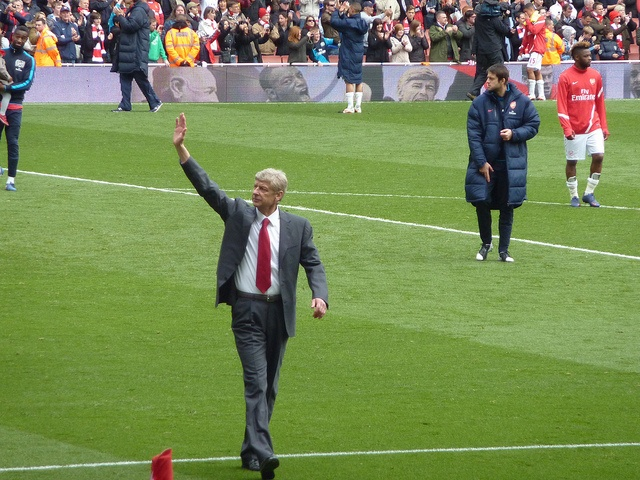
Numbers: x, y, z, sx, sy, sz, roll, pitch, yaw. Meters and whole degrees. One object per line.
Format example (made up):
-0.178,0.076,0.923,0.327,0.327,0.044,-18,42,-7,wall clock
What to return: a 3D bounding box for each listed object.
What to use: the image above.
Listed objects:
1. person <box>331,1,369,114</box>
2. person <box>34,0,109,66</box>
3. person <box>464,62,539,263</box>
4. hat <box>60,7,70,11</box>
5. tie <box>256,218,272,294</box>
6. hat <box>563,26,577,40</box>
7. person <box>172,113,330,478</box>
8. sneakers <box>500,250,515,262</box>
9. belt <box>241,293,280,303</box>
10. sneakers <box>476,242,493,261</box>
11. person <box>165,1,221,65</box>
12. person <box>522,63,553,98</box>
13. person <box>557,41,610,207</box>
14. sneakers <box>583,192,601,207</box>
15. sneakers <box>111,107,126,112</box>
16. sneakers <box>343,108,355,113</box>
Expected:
0.635,-4.001,29.602,0.767,2.360,1.070,0,9,1,person
-5.569,-4.929,31.719,1.005,1.465,1.635,2,9,15,person
2.366,-1.025,18.069,0.905,2.620,0.477,1,9,7,person
-5.782,-5.367,31.301,0.154,0.136,0.374,-1,8,-2,hat
-0.534,0.127,12.949,0.136,0.693,0.201,-1,9,-2,tie
6.412,-5.473,35.642,0.410,0.363,0.325,4,11,40,hat
-0.581,0.512,12.822,1.301,2.668,0.763,-1,9,-4,person
2.480,0.200,18.266,0.092,0.089,0.240,-3,2,-20,sneakers
-0.574,0.520,12.937,0.394,0.105,0.060,0,9,-1,belt
2.190,0.131,18.359,0.118,0.138,0.344,11,36,33,sneakers
-2.980,-4.855,32.061,0.986,1.390,2.539,1,9,7,person
5.204,-3.959,33.447,1.000,0.877,0.665,-4,16,-13,person
4.084,-1.856,21.440,0.792,2.595,0.627,-7,11,-37,person
4.271,-0.667,21.562,0.137,0.158,0.359,-12,17,-30,sneakers
-4.239,-2.841,29.112,0.347,0.131,0.110,2,7,2,sneakers
0.614,-2.864,29.733,0.287,0.108,0.089,0,43,4,sneakers
